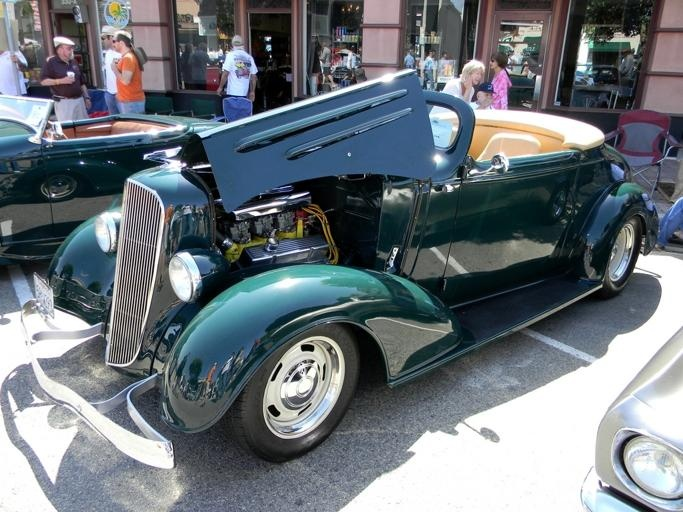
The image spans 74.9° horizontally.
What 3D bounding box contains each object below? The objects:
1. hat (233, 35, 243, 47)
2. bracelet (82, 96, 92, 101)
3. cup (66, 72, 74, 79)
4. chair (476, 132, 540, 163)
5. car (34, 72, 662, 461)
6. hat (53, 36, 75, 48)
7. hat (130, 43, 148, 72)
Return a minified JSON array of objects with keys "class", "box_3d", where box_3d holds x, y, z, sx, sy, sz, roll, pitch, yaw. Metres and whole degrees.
[{"class":"hat","box_3d":[-2.327,-4.769,9.932,0.239,0.229,0.392,1,29,-6]},{"class":"bracelet","box_3d":[-5.199,-3.219,9.135,0.159,0.117,0.179,7,12,-18]},{"class":"cup","box_3d":[-5.012,-3.354,8.273,0.108,0.097,0.117,0,9,0]},{"class":"chair","box_3d":[1.621,-1.044,4.282,0.409,0.338,0.404,10,27,10]},{"class":"car","box_3d":[0.186,-0.305,3.401,4.439,2.033,1.925,-18,29,-32]},{"class":"hat","box_3d":[-5.246,-4.037,8.445,0.297,0.165,0.530,-13,27,-25]},{"class":"hat","box_3d":[-3.907,-3.928,8.813,0.310,0.555,0.844,-12,31,-14]}]
